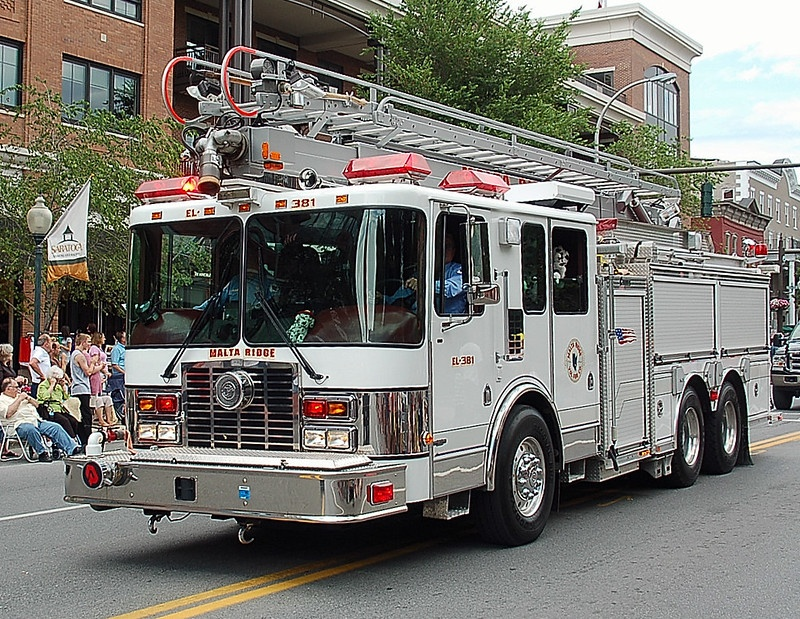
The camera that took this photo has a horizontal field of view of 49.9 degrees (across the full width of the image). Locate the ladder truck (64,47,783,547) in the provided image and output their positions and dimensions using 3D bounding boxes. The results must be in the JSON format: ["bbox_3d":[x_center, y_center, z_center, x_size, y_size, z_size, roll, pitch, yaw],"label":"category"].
[{"bbox_3d":[1.061,0.143,11.442,3.734,4.897,10.523,-4,-6,39],"label":"ladder truck"}]

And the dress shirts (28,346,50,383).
[{"bbox_3d":[-6.934,1.052,16.406,0.392,0.772,0.746,0,1,-19],"label":"dress shirts"}]

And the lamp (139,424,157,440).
[{"bbox_3d":[-2.312,1.099,7.842,0.142,0.162,0.139,0,0,9],"label":"lamp"}]

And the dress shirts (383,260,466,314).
[{"bbox_3d":[0.323,-0.116,7.420,0.420,0.230,0.600,-7,24,23],"label":"dress shirts"}]

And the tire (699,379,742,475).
[{"bbox_3d":[4.572,1.675,12.235,0.307,1.065,1.024,-6,-23,15],"label":"tire"}]

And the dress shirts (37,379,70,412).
[{"bbox_3d":[-6.153,1.548,15.308,0.468,0.735,0.623,-6,-4,28],"label":"dress shirts"}]

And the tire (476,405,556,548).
[{"bbox_3d":[1.087,1.609,8.262,0.467,1.482,1.218,-3,2,32],"label":"tire"}]

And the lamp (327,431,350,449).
[{"bbox_3d":[-0.509,1.062,7.055,0.221,0.173,0.126,0,-1,24],"label":"lamp"}]

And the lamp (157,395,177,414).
[{"bbox_3d":[-2.118,0.851,7.728,0.242,0.201,0.138,0,-3,22],"label":"lamp"}]

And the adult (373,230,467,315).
[{"bbox_3d":[0.298,-0.307,7.441,0.883,0.677,0.187,0,0,-44],"label":"adult"}]

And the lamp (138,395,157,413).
[{"bbox_3d":[-2.328,0.858,7.834,0.220,0.174,0.125,0,4,-24],"label":"lamp"}]

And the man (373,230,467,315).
[{"bbox_3d":[0.298,-0.307,7.441,0.883,0.677,0.187,0,0,-44],"label":"man"}]
